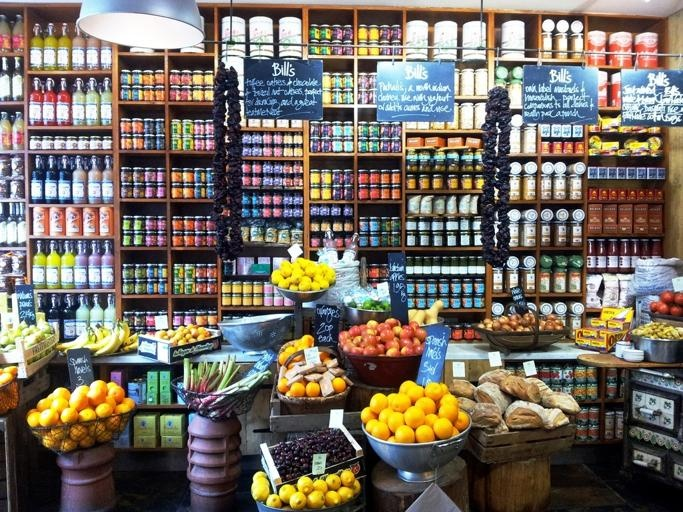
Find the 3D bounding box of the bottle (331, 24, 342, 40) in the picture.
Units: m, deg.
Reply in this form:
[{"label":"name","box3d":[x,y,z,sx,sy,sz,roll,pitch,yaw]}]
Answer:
[{"label":"bottle","box3d":[-0.035,-2.089,6.183,0.120,0.159,0.110,-4,4,0]}]

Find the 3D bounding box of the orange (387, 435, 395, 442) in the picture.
[{"label":"orange","box3d":[0.297,1.081,3.910,0.030,0.033,0.029,11,35,24]}]

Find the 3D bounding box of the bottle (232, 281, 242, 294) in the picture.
[{"label":"bottle","box3d":[-0.981,0.297,6.067,0.109,0.106,0.102,0,-1,-13]}]

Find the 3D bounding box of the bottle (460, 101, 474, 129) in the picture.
[{"label":"bottle","box3d":[1.184,-1.306,6.161,0.143,0.245,0.090,-4,4,8]}]

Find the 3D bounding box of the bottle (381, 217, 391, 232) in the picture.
[{"label":"bottle","box3d":[0.426,-0.299,6.155,0.091,0.133,0.015,-5,4,-10]}]

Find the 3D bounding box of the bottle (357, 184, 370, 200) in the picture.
[{"label":"bottle","box3d":[0.207,-0.605,6.149,0.133,0.126,0.124,0,1,0]}]

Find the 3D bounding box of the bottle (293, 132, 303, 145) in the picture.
[{"label":"bottle","box3d":[-0.400,-1.083,6.073,0.100,0.097,0.093,1,1,-3]}]

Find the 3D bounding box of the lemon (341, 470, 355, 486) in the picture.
[{"label":"lemon","box3d":[0.038,1.318,3.918,0.092,0.097,0.079,-7,-36,-4]}]

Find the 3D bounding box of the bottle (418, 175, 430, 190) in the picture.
[{"label":"bottle","box3d":[0.763,-0.691,6.167,0.137,0.134,0.128,1,-1,-19]}]

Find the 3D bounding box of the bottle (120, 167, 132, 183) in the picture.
[{"label":"bottle","box3d":[-1.994,-0.751,6.087,0.141,0.139,0.131,1,3,0]}]

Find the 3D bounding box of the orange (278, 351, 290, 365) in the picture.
[{"label":"orange","box3d":[-0.399,0.701,4.542,0.078,0.082,0.073,1,-1,0]}]

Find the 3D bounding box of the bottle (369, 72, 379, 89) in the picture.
[{"label":"bottle","box3d":[0.297,-1.621,6.087,0.080,0.156,0.023,0,6,44]}]

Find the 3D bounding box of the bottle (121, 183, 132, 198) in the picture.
[{"label":"bottle","box3d":[-1.986,-0.614,6.084,0.126,0.124,0.120,1,3,12]}]

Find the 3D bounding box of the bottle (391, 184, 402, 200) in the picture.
[{"label":"bottle","box3d":[0.515,-0.595,6.118,0.125,0.119,0.116,0,0,-7]}]

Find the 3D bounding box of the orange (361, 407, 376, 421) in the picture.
[{"label":"orange","box3d":[0.167,0.979,4.122,0.085,0.088,0.078,-15,33,-6]}]

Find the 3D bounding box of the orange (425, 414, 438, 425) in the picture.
[{"label":"orange","box3d":[0.545,0.971,3.924,0.062,0.068,0.057,0,-38,11]}]

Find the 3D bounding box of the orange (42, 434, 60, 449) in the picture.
[{"label":"orange","box3d":[-1.947,1.231,4.375,0.134,0.119,0.061,0,6,40]}]

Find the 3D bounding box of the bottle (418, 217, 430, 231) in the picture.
[{"label":"bottle","box3d":[0.784,-0.297,6.158,0.123,0.101,0.114,1,-2,-16]}]

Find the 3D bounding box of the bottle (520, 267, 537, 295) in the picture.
[{"label":"bottle","box3d":[1.802,0.234,6.279,0.137,0.251,0.058,-3,5,14]}]

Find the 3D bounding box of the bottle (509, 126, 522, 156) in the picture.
[{"label":"bottle","box3d":[1.679,-1.095,6.221,0.137,0.272,0.072,-6,5,-27]}]

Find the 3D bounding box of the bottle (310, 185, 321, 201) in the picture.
[{"label":"bottle","box3d":[-0.241,-0.587,6.128,0.128,0.124,0.124,1,2,21]}]

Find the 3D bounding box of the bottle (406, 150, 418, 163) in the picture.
[{"label":"bottle","box3d":[0.657,-0.923,6.082,0.123,0.101,0.114,0,3,-5]}]

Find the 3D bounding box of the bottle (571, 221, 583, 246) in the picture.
[{"label":"bottle","box3d":[2.263,-0.209,6.260,0.136,0.238,0.046,-5,4,-8]}]

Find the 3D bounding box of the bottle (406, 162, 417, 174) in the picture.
[{"label":"bottle","box3d":[0.657,-0.819,6.087,0.088,0.055,0.085,1,3,0]}]

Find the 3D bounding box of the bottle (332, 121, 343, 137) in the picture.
[{"label":"bottle","box3d":[-0.039,-1.176,6.099,0.136,0.171,0.135,0,4,0]}]

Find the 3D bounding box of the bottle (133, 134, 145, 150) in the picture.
[{"label":"bottle","box3d":[-1.882,-1.051,6.083,0.136,0.132,0.130,2,5,18]}]

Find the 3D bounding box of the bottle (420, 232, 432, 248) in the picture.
[{"label":"bottle","box3d":[0.793,-0.157,6.188,0.129,0.126,0.121,0,1,0]}]

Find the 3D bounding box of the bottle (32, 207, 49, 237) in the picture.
[{"label":"bottle","box3d":[-2.807,-0.321,6.112,0.162,0.279,0.086,-6,5,-24]}]

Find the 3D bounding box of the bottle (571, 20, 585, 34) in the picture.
[{"label":"bottle","box3d":[2.244,-2.166,6.218,0.125,0.109,0.038,-1,8,-5]}]

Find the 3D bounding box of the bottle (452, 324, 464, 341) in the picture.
[{"label":"bottle","box3d":[1.100,0.722,6.265,0.151,0.146,0.140,2,1,-9]}]

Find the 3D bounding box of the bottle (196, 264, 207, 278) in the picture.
[{"label":"bottle","box3d":[-1.305,0.134,6.188,0.126,0.119,0.118,1,1,4]}]

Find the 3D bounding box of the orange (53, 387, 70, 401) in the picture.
[{"label":"orange","box3d":[-1.912,0.924,4.490,0.087,0.080,0.094,-26,-22,-41]}]

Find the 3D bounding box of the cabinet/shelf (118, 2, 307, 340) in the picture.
[{"label":"cabinet/shelf","box3d":[-0.996,-0.838,5.563,1.789,2.879,1.923,-6,4,-19]}]

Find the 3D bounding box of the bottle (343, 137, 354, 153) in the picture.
[{"label":"bottle","box3d":[0.075,-1.033,6.059,0.131,0.125,0.124,1,3,3]}]

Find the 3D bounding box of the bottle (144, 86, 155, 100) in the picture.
[{"label":"bottle","box3d":[-1.784,-1.504,6.077,0.127,0.119,0.118,0,3,-2]}]

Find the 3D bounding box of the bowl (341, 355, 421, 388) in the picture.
[{"label":"bowl","box3d":[0.330,0.783,4.587,0.618,0.177,0.583,-4,-10,-1]}]

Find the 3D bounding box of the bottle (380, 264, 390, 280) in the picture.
[{"label":"bottle","box3d":[0.409,0.151,6.152,0.127,0.120,0.121,2,-1,-33]}]

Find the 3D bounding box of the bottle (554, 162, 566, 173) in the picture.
[{"label":"bottle","box3d":[2.093,-0.838,6.219,0.132,0.110,0.057,-6,4,-23]}]

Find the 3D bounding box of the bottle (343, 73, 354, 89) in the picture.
[{"label":"bottle","box3d":[0.082,-1.630,6.146,0.116,0.151,0.063,-8,6,-44]}]

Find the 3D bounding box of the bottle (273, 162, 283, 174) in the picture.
[{"label":"bottle","box3d":[-0.583,-0.813,6.088,0.120,0.143,0.084,1,-3,-6]}]

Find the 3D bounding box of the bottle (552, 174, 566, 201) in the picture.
[{"label":"bottle","box3d":[2.082,-0.654,6.250,0.101,0.232,0.041,-4,4,4]}]

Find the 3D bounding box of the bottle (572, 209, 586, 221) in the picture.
[{"label":"bottle","box3d":[2.272,-0.387,6.251,0.122,0.116,0.046,-3,4,9]}]

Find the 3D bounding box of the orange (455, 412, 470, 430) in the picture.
[{"label":"orange","box3d":[0.739,1.003,4.002,0.086,0.092,0.082,18,40,27]}]

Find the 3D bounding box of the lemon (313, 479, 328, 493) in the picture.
[{"label":"lemon","box3d":[-0.124,1.358,3.880,0.054,0.083,0.079,0,6,42]}]

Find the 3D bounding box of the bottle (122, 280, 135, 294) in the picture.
[{"label":"bottle","box3d":[-1.990,0.291,6.098,0.129,0.126,0.121,2,0,-22]}]

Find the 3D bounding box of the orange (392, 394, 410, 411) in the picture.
[{"label":"orange","box3d":[0.366,0.891,3.997,0.092,0.088,0.111,-14,-7,19]}]

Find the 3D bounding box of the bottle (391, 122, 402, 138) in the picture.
[{"label":"bottle","box3d":[0.517,-1.175,6.125,0.136,0.134,0.126,1,3,-9]}]

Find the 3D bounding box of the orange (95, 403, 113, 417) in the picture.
[{"label":"orange","box3d":[-1.611,1.034,4.447,0.092,0.094,0.085,2,8,-29]}]

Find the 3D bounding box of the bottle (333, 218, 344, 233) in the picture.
[{"label":"bottle","box3d":[-0.032,-0.299,6.174,0.114,0.113,0.108,2,-1,-27]}]

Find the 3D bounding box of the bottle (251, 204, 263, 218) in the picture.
[{"label":"bottle","box3d":[-0.785,-0.426,6.093,0.116,0.099,0.028,-1,-11,-11]}]

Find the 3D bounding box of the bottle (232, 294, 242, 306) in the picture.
[{"label":"bottle","box3d":[-0.974,0.406,6.070,0.103,0.099,0.099,1,1,17]}]
